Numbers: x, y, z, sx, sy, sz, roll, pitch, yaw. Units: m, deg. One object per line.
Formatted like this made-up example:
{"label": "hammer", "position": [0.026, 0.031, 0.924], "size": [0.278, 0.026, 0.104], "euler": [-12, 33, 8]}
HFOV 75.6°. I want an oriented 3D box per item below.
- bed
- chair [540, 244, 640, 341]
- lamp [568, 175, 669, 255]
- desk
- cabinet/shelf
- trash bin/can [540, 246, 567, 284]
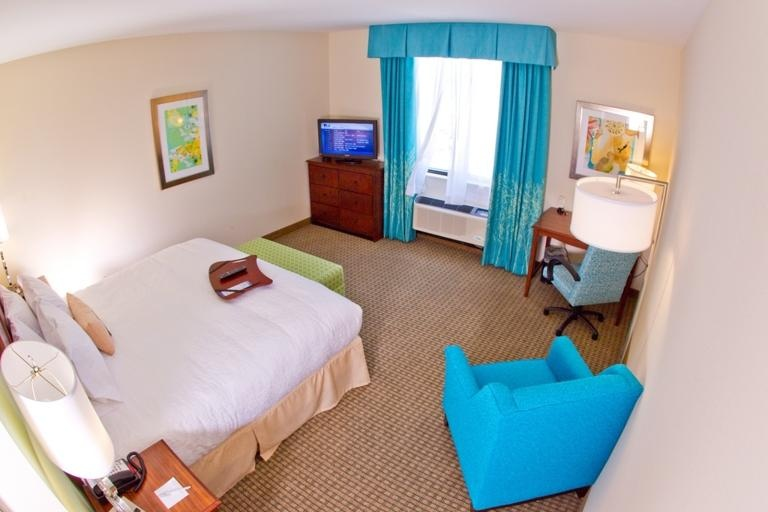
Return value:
{"label": "bed", "position": [-1.319, 0.874, 4.388], "size": [1.994, 0.851, 2.028], "euler": [25, 40, 35]}
{"label": "chair", "position": [2.272, 0.314, 5.635], "size": [0.938, 1.148, 0.691], "euler": [11, 25, 27]}
{"label": "lamp", "position": [1.701, -0.378, 3.649], "size": [0.554, 0.634, 0.571], "euler": [17, 36, 32]}
{"label": "desk", "position": [2.125, 0.160, 5.255], "size": [0.963, 0.961, 0.724], "euler": [22, 41, 32]}
{"label": "cabinet/shelf", "position": [-0.556, -0.910, 7.542], "size": [1.046, 0.940, 0.449], "euler": [13, 34, 21]}
{"label": "trash bin/can", "position": [1.972, 0.073, 5.845], "size": [0.150, 0.442, 0.324], "euler": [7, 21, 34]}
